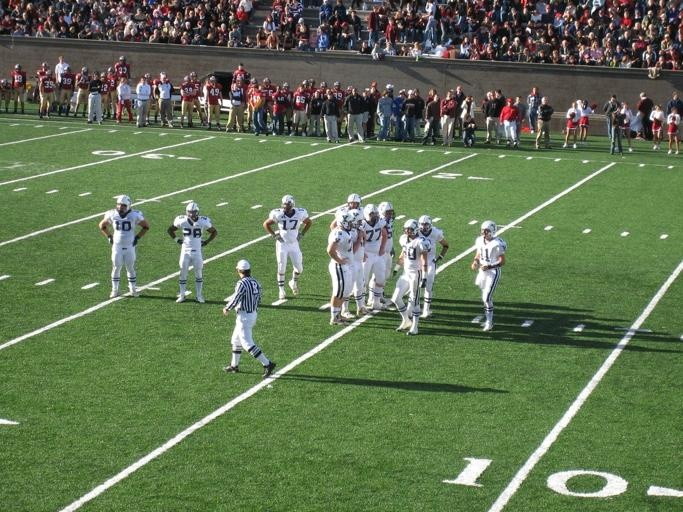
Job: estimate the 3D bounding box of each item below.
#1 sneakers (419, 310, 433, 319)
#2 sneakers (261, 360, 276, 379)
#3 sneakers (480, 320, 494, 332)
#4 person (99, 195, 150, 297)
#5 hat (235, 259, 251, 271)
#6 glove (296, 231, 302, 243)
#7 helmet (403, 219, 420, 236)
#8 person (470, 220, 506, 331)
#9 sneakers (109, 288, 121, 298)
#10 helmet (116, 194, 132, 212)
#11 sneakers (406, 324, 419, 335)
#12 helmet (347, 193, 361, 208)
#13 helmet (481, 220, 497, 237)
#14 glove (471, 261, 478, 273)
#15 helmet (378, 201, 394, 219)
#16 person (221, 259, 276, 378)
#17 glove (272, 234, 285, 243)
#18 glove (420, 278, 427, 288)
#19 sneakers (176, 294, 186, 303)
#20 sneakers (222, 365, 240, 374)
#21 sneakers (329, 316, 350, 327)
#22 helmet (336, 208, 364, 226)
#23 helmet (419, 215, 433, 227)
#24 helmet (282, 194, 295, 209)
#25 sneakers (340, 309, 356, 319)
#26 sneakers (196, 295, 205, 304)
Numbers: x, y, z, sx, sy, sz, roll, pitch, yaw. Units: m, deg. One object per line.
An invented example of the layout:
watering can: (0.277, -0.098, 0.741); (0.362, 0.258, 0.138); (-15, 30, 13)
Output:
sneakers: (1.514, 1.044, 18.598); (0.270, 0.185, 0.090); (-4, 8, -34)
sneakers: (-1.110, 1.759, 16.104); (0.154, 0.318, 0.116); (-1, -22, 11)
sneakers: (2.531, 1.189, 18.101); (0.183, 0.183, 0.364); (2, 7, 7)
person: (-3.974, -0.192, 19.207); (0.788, 1.810, 0.810); (-1, 7, -18)
hat: (-1.500, 0.168, 16.029); (0.185, 0.139, 0.249); (1, 14, -7)
glove: (-0.787, -0.321, 19.413); (0.136, 0.186, 0.178); (-1, 19, 12)
helmet: (1.203, -0.488, 17.981); (0.186, 0.241, 0.254); (-2, -2, 18)
person: (2.561, 0.332, 18.243); (0.517, 1.844, 0.850); (2, 7, 7)
sneakers: (-4.109, 0.661, 19.039); (0.170, 0.156, 0.262); (-1, 7, -15)
helmet: (-3.949, -0.950, 19.046); (0.187, 0.263, 0.356); (1, 7, -4)
sneakers: (1.234, 1.236, 17.900); (0.194, 0.177, 0.268); (2, 7, 3)
helmet: (0.238, -0.984, 18.852); (0.250, 0.314, 0.321); (1, -8, 2)
helmet: (2.545, -0.460, 18.255); (0.237, 0.293, 0.335); (0, 5, 37)
glove: (2.516, 0.218, 19.787); (0.138, 0.125, 0.265); (14, 29, 0)
helmet: (0.810, -0.829, 18.972); (0.252, 0.302, 0.340); (-7, 31, -35)
person: (-1.405, 0.963, 16.117); (0.792, 1.796, 0.555); (3, 7, 15)
glove: (-1.155, -0.328, 19.309); (0.060, 0.123, 0.161); (-42, 23, -19)
glove: (1.416, 0.477, 18.212); (0.052, 0.156, 0.110); (12, -5, 29)
sneakers: (-2.873, 0.766, 18.916); (0.180, 0.182, 0.096); (4, 8, -3)
sneakers: (-1.701, 1.766, 16.237); (0.201, 0.091, 0.098); (7, 11, 28)
sneakers: (-0.026, 1.131, 18.151); (0.342, 0.161, 0.137); (-3, 18, -4)
helmet: (0.144, -0.673, 18.214); (0.376, 0.314, 0.287); (-22, 17, 19)
helmet: (1.470, -0.608, 18.277); (0.181, 0.200, 0.223); (-10, 1, -42)
helmet: (-0.926, -1.026, 19.230); (0.257, 0.288, 0.342); (0, -7, -12)
sneakers: (0.131, 1.033, 18.464); (0.277, 0.133, 0.106); (5, 17, 30)
sneakers: (-2.534, 0.789, 18.942); (0.080, 0.104, 0.237); (-6, 2, -28)
